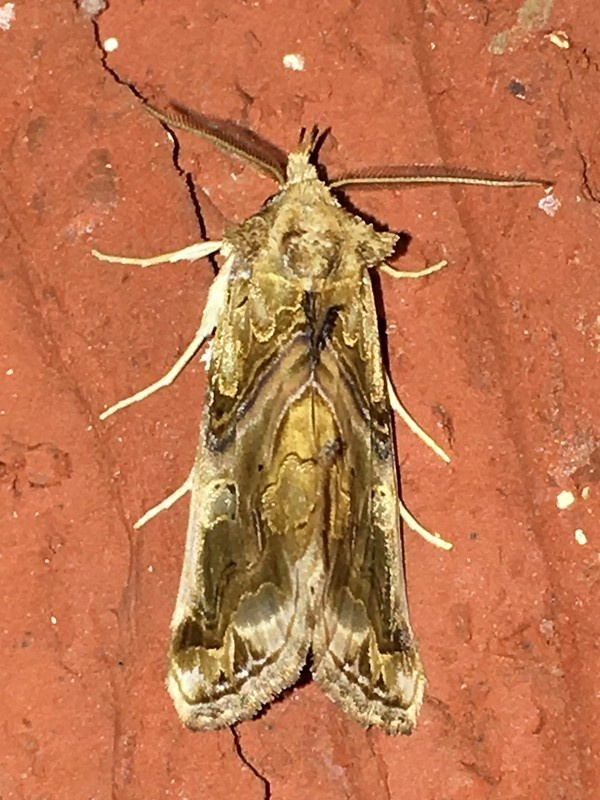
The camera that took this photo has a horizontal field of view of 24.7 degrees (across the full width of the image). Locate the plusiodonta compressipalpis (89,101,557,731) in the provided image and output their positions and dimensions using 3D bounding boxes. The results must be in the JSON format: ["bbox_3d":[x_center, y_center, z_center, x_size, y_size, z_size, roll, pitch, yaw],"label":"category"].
[{"bbox_3d":[0.011,0.124,5.703,1.572,0.558,2.524,2,82,-7],"label":"plusiodonta compressipalpis"}]
